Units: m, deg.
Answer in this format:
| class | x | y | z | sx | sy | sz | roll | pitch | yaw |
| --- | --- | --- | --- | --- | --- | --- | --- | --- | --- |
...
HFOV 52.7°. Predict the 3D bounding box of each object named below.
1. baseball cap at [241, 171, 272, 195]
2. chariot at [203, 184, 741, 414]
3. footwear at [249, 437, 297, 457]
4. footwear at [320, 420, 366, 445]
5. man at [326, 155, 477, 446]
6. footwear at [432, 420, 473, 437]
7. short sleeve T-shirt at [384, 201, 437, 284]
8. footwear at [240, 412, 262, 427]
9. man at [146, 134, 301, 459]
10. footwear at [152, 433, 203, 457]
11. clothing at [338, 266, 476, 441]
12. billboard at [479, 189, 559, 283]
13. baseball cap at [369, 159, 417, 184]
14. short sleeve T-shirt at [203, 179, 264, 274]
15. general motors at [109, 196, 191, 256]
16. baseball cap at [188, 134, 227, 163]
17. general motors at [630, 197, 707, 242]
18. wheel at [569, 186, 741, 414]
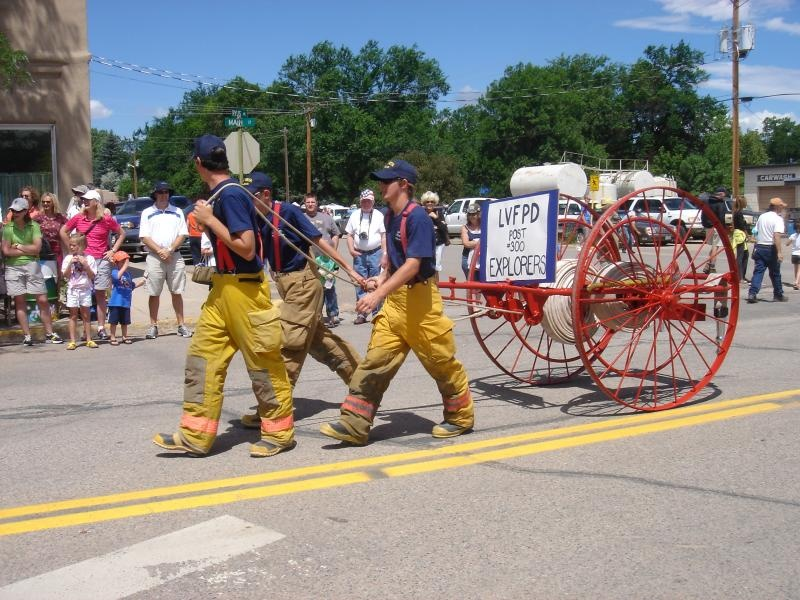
| class | x | y | z | sx | sy | sz | roll | pitch | yaw |
| --- | --- | --- | --- | --- | --- | --- | --- | --- | --- |
| baseball cap | -1.197 | -0.963 | 6.789 | 0.326 | 0.169 | 0.214 | 5 | 29 | -1 |
| chariot | 1.971 | 0.048 | 7.672 | 2.403 | 1.687 | 2.510 | 1 | -5 | 22 |
| footwear | -0.921 | 1.066 | 5.882 | 0.320 | 0.125 | 0.121 | 1 | 2 | -28 |
| footwear | -0.406 | 0.983 | 5.940 | 0.244 | 0.086 | 0.101 | 23 | 45 | -3 |
| man | -0.002 | 0.029 | 5.982 | 0.676 | 2.111 | 1.080 | 8 | 12 | 43 |
| footwear | 0.407 | 0.994 | 6.232 | 0.279 | 0.107 | 0.124 | 5 | -3 | -20 |
| short sleeve T-shirt | 0.069 | -0.411 | 6.080 | 0.358 | 0.607 | 0.645 | -4 | 5 | -24 |
| footwear | -1.190 | 0.982 | 6.579 | 0.226 | 0.099 | 0.094 | 5 | -5 | -8 |
| man | -1.221 | -0.013 | 5.744 | 0.884 | 2.284 | 0.460 | -2 | 9 | -7 |
| footwear | -1.568 | 1.038 | 5.754 | 0.295 | 0.134 | 0.113 | 18 | 4 | 0 |
| clothing | 0.077 | 0.494 | 6.750 | 1.497 | 1.769 | 0.720 | 3 | 5 | -1 |
| billboard | 0.994 | -0.518 | 6.942 | 1.014 | 0.780 | 0.043 | -9 | 15 | -43 |
| baseball cap | -0.030 | -0.951 | 5.990 | 0.300 | 0.136 | 0.184 | 0 | 7 | -18 |
| short sleeve T-shirt | -1.159 | -0.536 | 5.752 | 0.681 | 0.665 | 0.359 | 0 | 0 | -6 |
| general motors | -6.941 | -2.541 | 22.763 | 1.024 | 0.901 | 2.246 | -5 | 22 | 30 |
| baseball cap | -1.406 | -1.086 | 5.829 | 0.228 | 0.169 | 0.302 | -17 | 31 | -28 |
| general motors | 9.574 | -3.099 | 29.847 | 3.655 | 1.369 | 1.640 | 9 | 18 | 44 |
| wheel | 2.486 | 0.047 | 7.319 | 2.077 | 1.917 | 0.408 | -3 | 5 | -31 |
